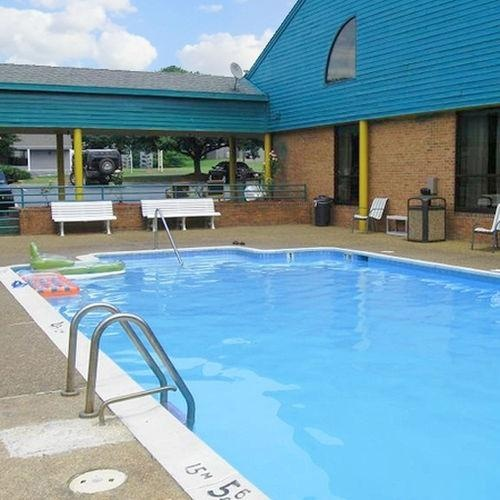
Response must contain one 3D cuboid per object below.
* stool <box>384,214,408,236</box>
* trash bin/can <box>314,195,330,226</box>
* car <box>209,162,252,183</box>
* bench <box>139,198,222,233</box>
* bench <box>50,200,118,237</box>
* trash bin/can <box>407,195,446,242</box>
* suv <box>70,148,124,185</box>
[{"bbox_3d":[4.596,-0.791,14.792,0.791,0.565,0.435,8,14,43],"label":"stool"},{"bbox_3d":[2.643,-1.427,17.250,0.569,1.118,0.352,2,8,13],"label":"trash bin/can"},{"bbox_3d":[-1.259,-5.676,32.656,2.305,1.072,3.324,-1,5,2],"label":"car"},{"bbox_3d":[-2.310,-1.276,16.605,2.624,1.108,2.771,0,7,-4],"label":"bench"},{"bbox_3d":[-5.299,-1.029,15.149,1.864,1.076,1.244,-2,8,-18],"label":"bench"},{"bbox_3d":[4.918,-0.891,13.133,1.044,1.270,1.151,3,8,19],"label":"trash bin/can"},{"bbox_3d":[-9.567,-5.407,30.428,3.644,2.323,1.995,7,10,42],"label":"suv"}]
